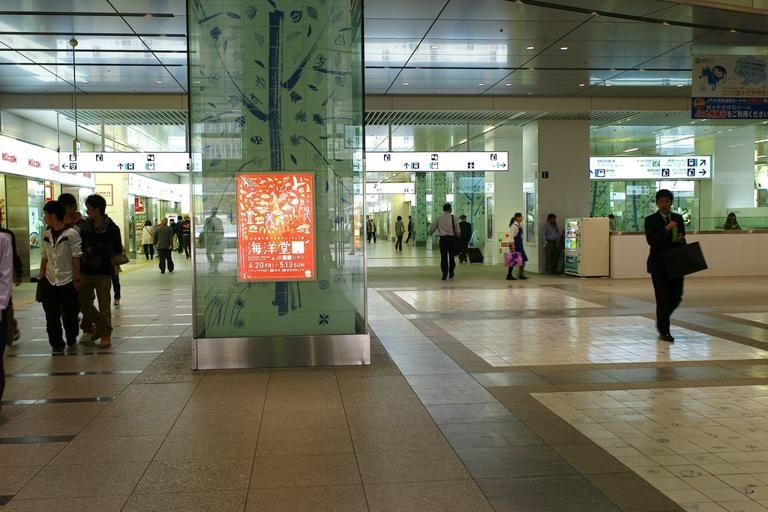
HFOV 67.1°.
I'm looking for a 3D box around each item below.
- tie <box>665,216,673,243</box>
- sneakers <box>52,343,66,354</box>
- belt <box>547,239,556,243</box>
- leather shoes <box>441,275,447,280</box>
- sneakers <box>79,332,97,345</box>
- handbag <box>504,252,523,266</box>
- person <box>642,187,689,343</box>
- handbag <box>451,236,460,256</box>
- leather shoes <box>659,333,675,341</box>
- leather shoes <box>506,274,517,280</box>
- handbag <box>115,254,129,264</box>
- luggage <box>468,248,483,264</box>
[{"bbox_3d":[4.400,-0.404,9.011,0.139,0.301,0.263,3,8,29],"label":"tie"},{"bbox_3d":[-4.857,1.376,8.645,0.111,0.280,0.131,0,4,-9],"label":"sneakers"},{"bbox_3d":[5.113,-0.482,18.112,0.321,0.100,0.096,-1,7,-8],"label":"belt"},{"bbox_3d":[1.719,0.634,17.368,0.135,0.123,0.118,1,-6,1],"label":"leather shoes"},{"bbox_3d":[-4.746,1.332,9.338,0.194,0.238,0.261,6,-24,-10],"label":"sneakers"},{"bbox_3d":[3.665,0.073,16.730,0.478,0.388,0.199,-1,-1,2],"label":"handbag"},{"bbox_3d":[4.352,0.126,9.185,0.586,2.331,0.597,3,8,24],"label":"person"},{"bbox_3d":[2.131,-0.328,17.580,0.178,0.527,0.387,2,7,21],"label":"handbag"},{"bbox_3d":[4.376,1.258,9.115,0.200,0.098,0.218,2,7,22],"label":"leather shoes"},{"bbox_3d":[3.670,0.582,17.098,0.307,0.167,0.479,1,7,10],"label":"leather shoes"},{"bbox_3d":[-4.395,0.051,9.682,0.141,0.210,0.205,-7,3,16],"label":"handbag"},{"bbox_3d":[3.499,-0.058,22.733,0.612,0.652,0.637,-2,8,-2],"label":"luggage"}]
